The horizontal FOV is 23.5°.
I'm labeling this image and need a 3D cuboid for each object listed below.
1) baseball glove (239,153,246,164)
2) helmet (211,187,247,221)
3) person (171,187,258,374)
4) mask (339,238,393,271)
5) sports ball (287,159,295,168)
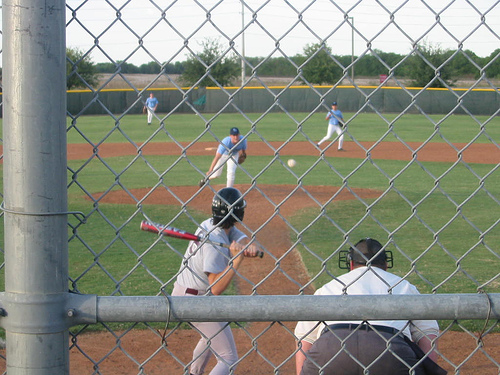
[{"bbox_3d":[-0.151,-0.486,21.295,0.043,0.136,0.151,18,10,34],"label":"baseball glove"},{"bbox_3d":[-0.223,0.210,13.490,0.423,0.321,0.298,1,17,0],"label":"helmet"},{"bbox_3d":[-0.394,1.146,13.642,1.177,2.334,0.842,-6,42,-13],"label":"person"},{"bbox_3d":[1.258,0.739,13.107,0.717,0.538,0.667,1,2,4],"label":"mask"},{"bbox_3d":[0.785,-0.435,22.717,0.159,0.149,0.153,-1,3,0],"label":"sports ball"}]
